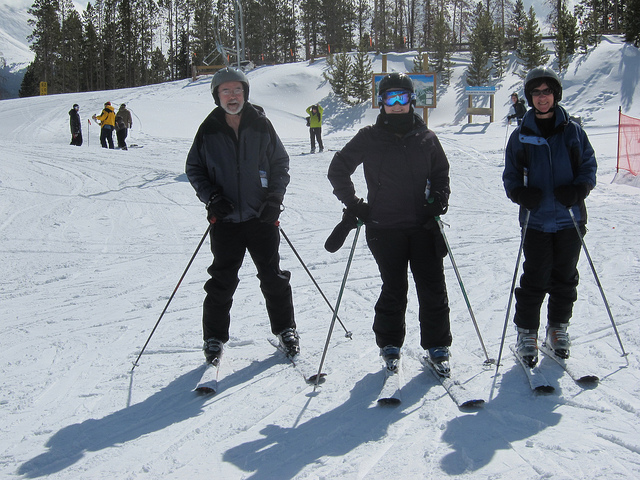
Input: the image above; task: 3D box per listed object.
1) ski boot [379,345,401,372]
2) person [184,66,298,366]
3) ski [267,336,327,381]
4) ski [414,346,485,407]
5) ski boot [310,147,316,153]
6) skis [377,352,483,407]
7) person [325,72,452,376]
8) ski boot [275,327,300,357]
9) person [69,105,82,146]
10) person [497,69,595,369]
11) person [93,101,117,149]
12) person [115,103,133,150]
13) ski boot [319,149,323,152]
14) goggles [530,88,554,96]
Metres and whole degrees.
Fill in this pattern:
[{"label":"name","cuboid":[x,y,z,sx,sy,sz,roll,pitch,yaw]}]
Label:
[{"label":"ski boot","cuboid":[0.582,0.964,4.722,0.178,0.227,0.523,-1,-9,3]},{"label":"person","cuboid":[-0.660,-0.202,5.026,0.899,2.536,0.608,-5,13,-12]},{"label":"ski","cuboid":[-0.183,1.053,5.046,0.181,0.080,1.033,-14,13,-15]},{"label":"ski","cuboid":[1.004,1.077,4.719,0.144,0.065,0.953,-5,11,-6]},{"label":"ski boot","cuboid":[-0.205,-2.902,18.756,0.161,0.179,0.197,1,10,14]},{"label":"skis","cuboid":[0.941,1.068,4.411,0.268,0.123,0.863,-3,10,-14]},{"label":"person","cuboid":[0.597,-0.143,4.781,0.968,2.409,0.720,0,13,11]},{"label":"ski boot","cuboid":[-0.265,0.904,5.152,0.136,0.133,0.307,-15,17,-25]},{"label":"person","cuboid":[-7.744,-3.607,18.326,0.337,1.236,1.160,-7,13,-22]},{"label":"person","cuboid":[1.885,-0.177,4.775,0.698,2.360,0.638,1,13,16]},{"label":"person","cuboid":[-6.479,-3.449,17.630,0.608,1.375,2.032,-7,13,-19]},{"label":"person","cuboid":[-6.086,-3.496,17.951,0.503,1.364,1.729,-6,13,-17]},{"label":"ski boot","cuboid":[0.054,-2.883,18.767,0.079,0.073,0.136,0,-4,2]},{"label":"goggles","cuboid":[1.808,-1.198,4.710,0.172,0.057,0.062,0,12,7]}]
